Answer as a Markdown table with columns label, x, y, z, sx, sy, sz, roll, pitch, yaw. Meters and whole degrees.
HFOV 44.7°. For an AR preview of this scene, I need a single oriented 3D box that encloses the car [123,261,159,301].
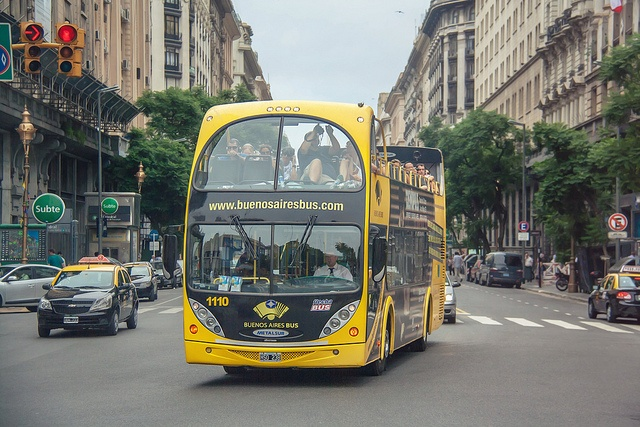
| label | x | y | z | sx | sy | sz | roll | pitch | yaw |
| --- | --- | --- | --- | --- | --- | --- | --- | --- | --- |
| car | -8.749 | 3.257 | 38.706 | 1.558 | 2.457 | 3.208 | 1 | -1 | 3 |

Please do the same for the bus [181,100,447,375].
| label | x | y | z | sx | sy | sz | roll | pitch | yaw |
| --- | --- | --- | --- | --- | --- | --- | --- | --- | --- |
| bus | 0.598 | 1.102 | 19.251 | 2.985 | 4.134 | 8.861 | -1 | -7 | 16 |

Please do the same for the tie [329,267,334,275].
| label | x | y | z | sx | sy | sz | roll | pitch | yaw |
| --- | --- | --- | --- | --- | --- | --- | --- | --- | --- |
| tie | 0.243 | 1.153 | 15.324 | 0.086 | 0.140 | 0.048 | -2 | -6 | -2 |

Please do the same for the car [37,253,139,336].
| label | x | y | z | sx | sy | sz | roll | pitch | yaw |
| --- | --- | --- | --- | --- | --- | --- | --- | --- | --- |
| car | -7.223 | 2.697 | 24.172 | 2.885 | 2.230 | 2.023 | 2 | -7 | -25 |
